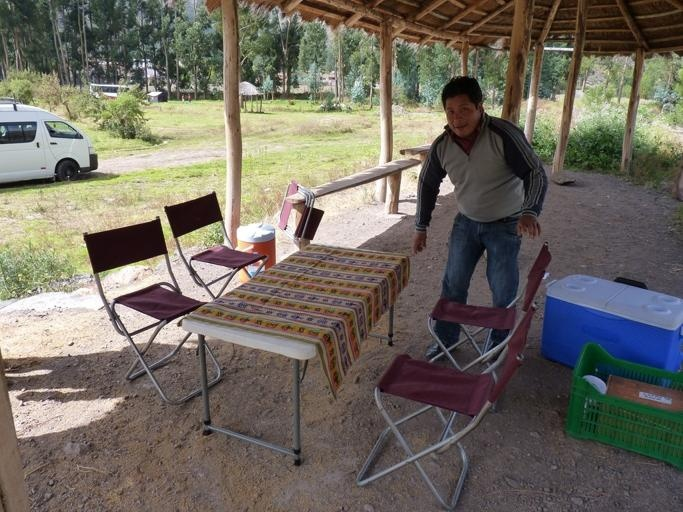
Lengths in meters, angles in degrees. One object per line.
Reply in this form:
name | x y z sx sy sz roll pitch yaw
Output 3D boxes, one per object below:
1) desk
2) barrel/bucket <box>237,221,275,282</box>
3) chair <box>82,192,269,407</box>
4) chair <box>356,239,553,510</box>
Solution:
desk | -0.080 0.459 4.050 0.959 0.764 1.664 16 19 17
barrel/bucket | -0.928 -0.044 5.265 0.432 0.762 0.438 3 20 -1
chair | -1.614 0.435 4.767 1.055 1.511 1.901 11 17 18
chair | 0.749 0.805 3.307 0.917 1.307 1.456 10 21 26
